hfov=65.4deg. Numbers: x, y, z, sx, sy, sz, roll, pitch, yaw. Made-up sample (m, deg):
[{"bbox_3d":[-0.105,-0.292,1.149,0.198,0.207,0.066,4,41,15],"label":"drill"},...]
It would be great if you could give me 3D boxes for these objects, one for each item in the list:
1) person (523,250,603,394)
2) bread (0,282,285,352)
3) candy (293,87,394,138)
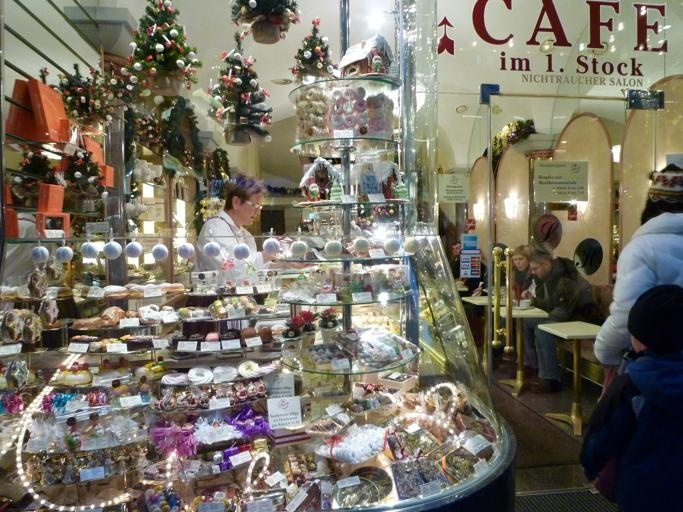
[{"bbox_3d":[2.108,0.567,5.182,0.699,1.385,0.566,-3,11,22],"label":"person"},{"bbox_3d":[-1.071,0.322,2.879,1.371,0.295,0.225,-3,2,-10],"label":"bread"},{"bbox_3d":[0.006,-0.723,2.931,0.330,0.158,0.326,-3,2,-45],"label":"candy"}]
